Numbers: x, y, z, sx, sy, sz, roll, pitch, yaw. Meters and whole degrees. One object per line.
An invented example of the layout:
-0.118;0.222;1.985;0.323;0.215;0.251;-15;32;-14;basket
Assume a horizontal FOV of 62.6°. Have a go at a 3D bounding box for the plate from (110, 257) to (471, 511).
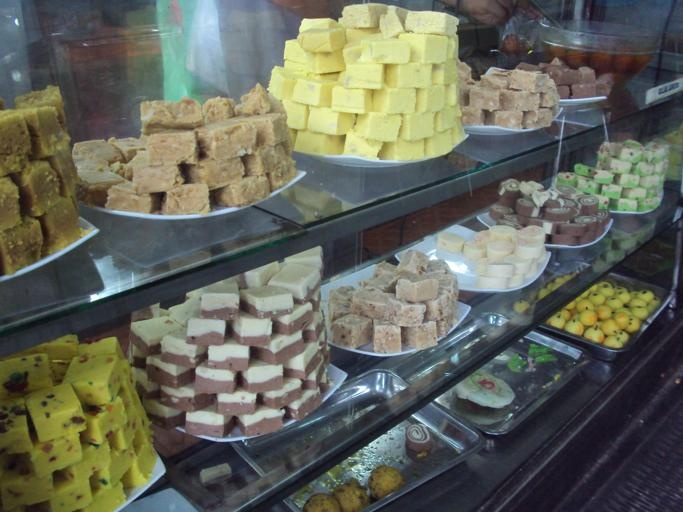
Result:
-0.101;0.212;1.353;0.634;0.326;0.468;-30;32;-29;plate
